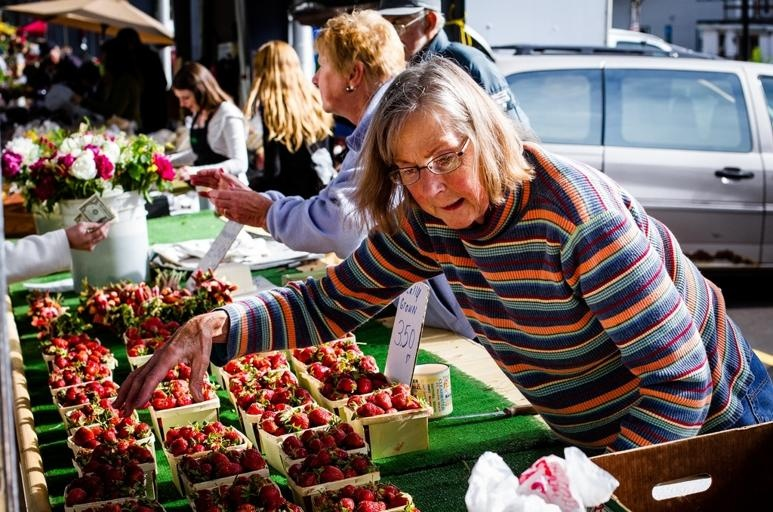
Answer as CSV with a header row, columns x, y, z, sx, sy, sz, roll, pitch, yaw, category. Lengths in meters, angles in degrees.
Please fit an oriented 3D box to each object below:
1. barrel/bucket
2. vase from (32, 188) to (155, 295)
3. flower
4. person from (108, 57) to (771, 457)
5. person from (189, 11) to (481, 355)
x,y,z,sx,sy,sz,roll,pitch,yaw,category
-1.437,-0.092,3.729,0.467,0.532,0.485,-2,5,0,barrel/bucket
-1.541,-0.114,3.680,0.504,0.533,0.506,-4,8,-20,vase
-1.629,-0.497,3.973,0.830,0.498,0.703,-6,17,3,flower
0.335,0.027,2.229,1.808,1.300,0.485,1,8,15,person
-0.136,-0.121,3.560,1.415,2.032,0.832,-14,18,-6,person
